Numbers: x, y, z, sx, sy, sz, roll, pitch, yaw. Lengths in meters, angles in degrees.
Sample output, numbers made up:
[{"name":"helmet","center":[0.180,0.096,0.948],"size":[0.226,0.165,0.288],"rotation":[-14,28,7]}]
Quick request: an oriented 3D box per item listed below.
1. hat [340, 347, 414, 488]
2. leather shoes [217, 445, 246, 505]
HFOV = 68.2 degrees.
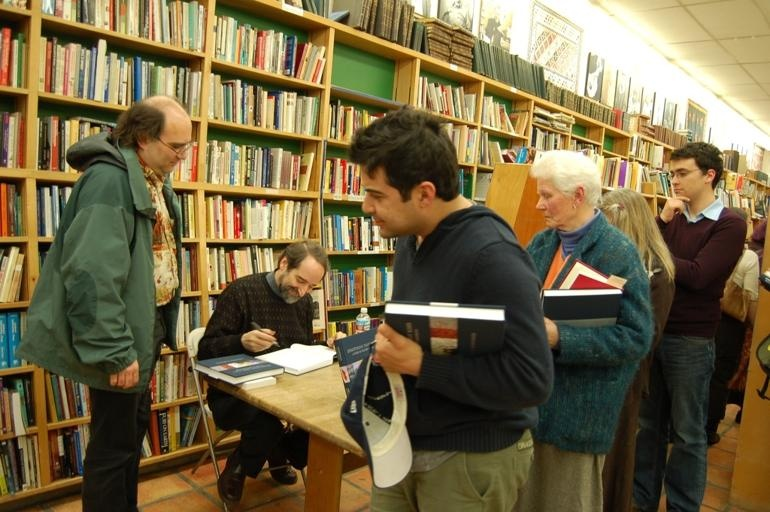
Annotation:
[{"name":"hat","center":[-0.049,0.671,2.407],"size":[0.306,0.533,0.164],"rotation":[-9,-7,-18]},{"name":"leather shoes","center":[-1.000,1.398,3.714],"size":[0.147,0.381,0.145],"rotation":[-32,-45,18]}]
